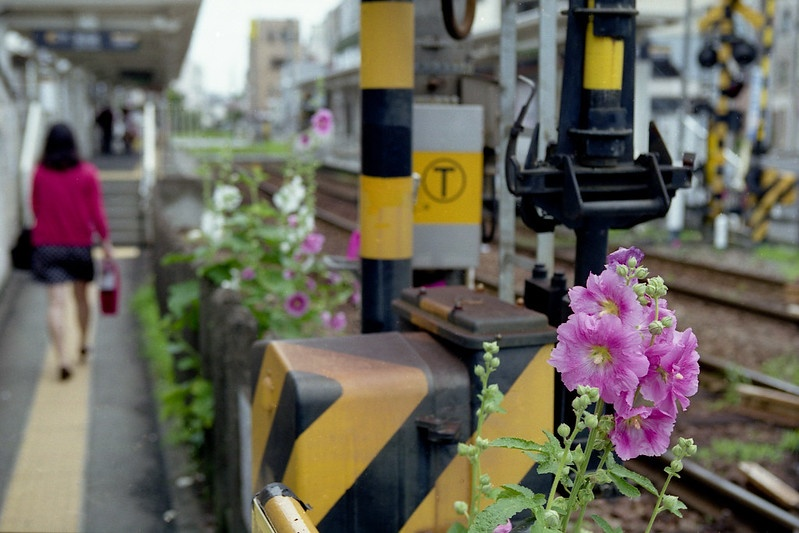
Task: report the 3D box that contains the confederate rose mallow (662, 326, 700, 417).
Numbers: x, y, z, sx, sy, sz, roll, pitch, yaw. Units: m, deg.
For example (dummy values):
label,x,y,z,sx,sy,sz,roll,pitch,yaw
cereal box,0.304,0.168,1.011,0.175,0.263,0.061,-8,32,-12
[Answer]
label,x,y,z,sx,sy,sz,roll,pitch,yaw
confederate rose mallow,0.846,0.312,2.393,0.092,0.221,0.203,1,-13,22

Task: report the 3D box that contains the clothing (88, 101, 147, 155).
label,x,y,z,sx,sy,sz,roll,pitch,yaw
clothing,-1.666,-0.788,4.608,0.271,0.314,0.109,2,33,-4

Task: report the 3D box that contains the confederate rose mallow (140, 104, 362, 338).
label,x,y,z,sx,sy,sz,roll,pitch,yaw
confederate rose mallow,-0.824,-0.351,5.487,0.976,1.279,0.509,1,18,10

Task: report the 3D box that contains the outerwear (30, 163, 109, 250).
label,x,y,z,sx,sy,sz,roll,pitch,yaw
outerwear,-2.152,-0.421,5.057,0.534,0.577,0.299,0,15,-19

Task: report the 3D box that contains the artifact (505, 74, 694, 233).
label,x,y,z,sx,sy,sz,roll,pitch,yaw
artifact,1.133,-0.432,4.439,0.960,0.844,0.709,0,2,-18
